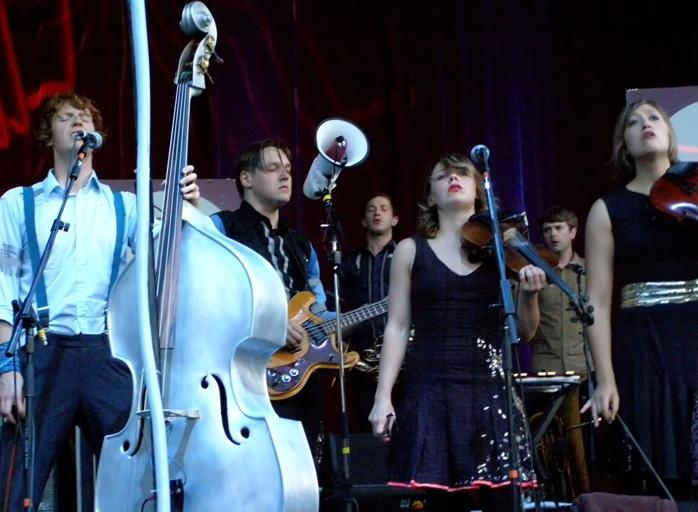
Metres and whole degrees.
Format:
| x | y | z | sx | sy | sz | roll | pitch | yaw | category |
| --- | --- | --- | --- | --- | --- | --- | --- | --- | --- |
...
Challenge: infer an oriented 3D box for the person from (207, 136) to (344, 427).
| x | y | z | sx | sy | sz | roll | pitch | yaw | category |
| --- | --- | --- | --- | --- | --- | --- | --- | --- | --- |
| -0.459 | 0.140 | 5.646 | 0.643 | 1.805 | 0.669 | -2 | 4 | -27 | person |

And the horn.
| x | y | z | sx | sy | sz | roll | pitch | yaw | category |
| --- | --- | --- | --- | --- | --- | --- | --- | --- | --- |
| -0.060 | -0.582 | 5.516 | 0.339 | 0.496 | 0.319 | -1 | 5 | -20 | horn |

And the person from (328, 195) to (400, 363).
| x | y | z | sx | sy | sz | roll | pitch | yaw | category |
| --- | --- | --- | --- | --- | --- | --- | --- | --- | --- |
| 0.193 | 0.254 | 6.878 | 0.600 | 1.411 | 0.293 | 3 | 2 | -2 | person |

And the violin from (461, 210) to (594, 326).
| x | y | z | sx | sy | sz | roll | pitch | yaw | category |
| --- | --- | --- | --- | --- | --- | --- | --- | --- | --- |
| 0.871 | 0.121 | 4.525 | 0.334 | 0.206 | 0.856 | -10 | 40 | -23 | violin |

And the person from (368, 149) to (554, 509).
| x | y | z | sx | sy | sz | roll | pitch | yaw | category |
| --- | --- | --- | --- | --- | --- | --- | --- | --- | --- |
| 0.565 | 0.301 | 4.767 | 0.722 | 1.889 | 0.773 | 2 | 0 | 9 | person |

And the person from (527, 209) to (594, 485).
| x | y | z | sx | sy | sz | roll | pitch | yaw | category |
| --- | --- | --- | --- | --- | --- | --- | --- | --- | --- |
| 1.572 | 0.594 | 6.666 | 0.517 | 2.597 | 0.619 | -2 | 3 | -4 | person |
